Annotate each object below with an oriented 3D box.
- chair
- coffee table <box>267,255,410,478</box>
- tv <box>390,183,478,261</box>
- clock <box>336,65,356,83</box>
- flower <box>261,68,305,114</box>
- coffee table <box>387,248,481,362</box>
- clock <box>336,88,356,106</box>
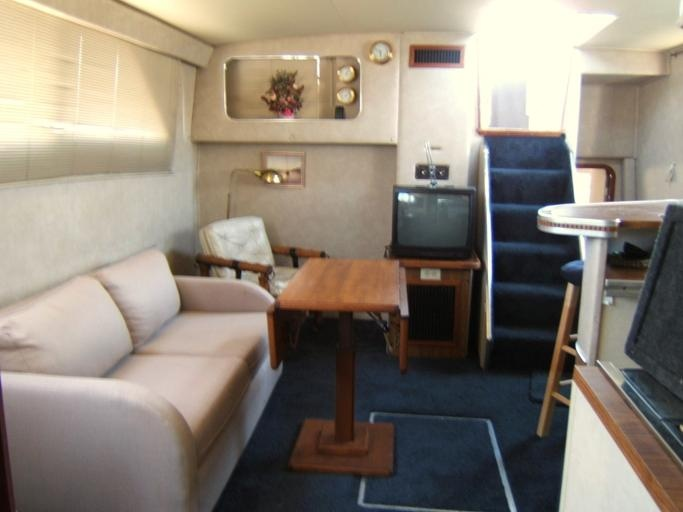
[{"bbox_3d":[-0.669,0.229,4.676,1.042,1.076,1.009,2,11,6],"label":"chair"},{"bbox_3d":[0.008,0.643,3.262,0.750,1.062,0.817,1,12,4],"label":"coffee table"},{"bbox_3d":[0.729,-0.237,4.520,0.704,0.630,0.430,1,-9,-4],"label":"tv"},{"bbox_3d":[0.060,-1.673,4.927,0.176,0.150,0.082,1,12,5],"label":"clock"},{"bbox_3d":[-0.479,-1.503,4.992,0.262,0.448,0.354,5,-21,17],"label":"flower"},{"bbox_3d":[0.739,0.371,4.640,0.800,0.883,0.628,-3,12,-12],"label":"coffee table"},{"bbox_3d":[0.052,-1.474,4.944,0.145,0.152,0.035,22,16,18],"label":"clock"}]
